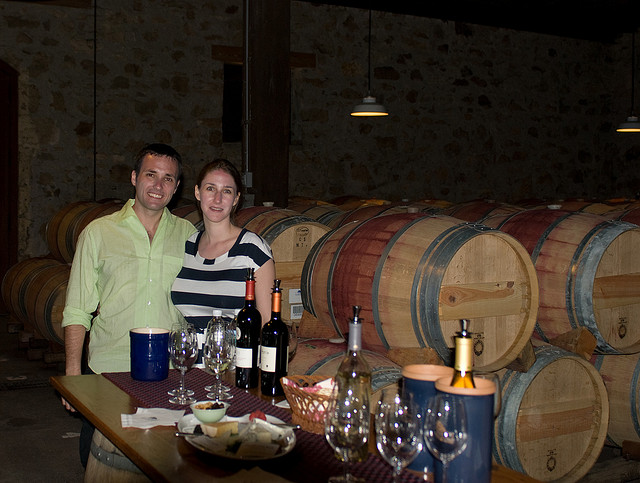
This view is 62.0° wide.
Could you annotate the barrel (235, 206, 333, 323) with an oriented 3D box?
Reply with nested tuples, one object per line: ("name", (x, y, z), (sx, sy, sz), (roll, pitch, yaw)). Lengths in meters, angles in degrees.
("barrel", (-0.226, 0.081, 3.857), (0.709, 0.780, 1.014), (-3, 12, -9))

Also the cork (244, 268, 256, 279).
("cork", (-0.269, 0.120, 2.061), (0.042, 0.048, 0.044), (1, -3, -17))

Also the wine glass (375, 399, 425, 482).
("wine glass", (0.204, 0.489, 1.331), (0.120, 0.254, 0.155), (-6, 12, 10))

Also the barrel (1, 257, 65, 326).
("barrel", (-3.131, 0.554, 6.129), (0.612, 0.778, 0.740), (-8, 12, -42))

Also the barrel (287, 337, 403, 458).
("barrel", (0.090, 0.718, 2.547), (0.351, 0.421, 0.320), (3, 8, 0))

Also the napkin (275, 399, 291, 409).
("napkin", (-0.129, 0.565, 1.859), (0.062, 0.009, 0.063), (1, 10, 10))

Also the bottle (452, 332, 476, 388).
("bottle", (0.350, 0.289, 1.311), (0.052, 0.150, 0.198), (-5, 12, 15))

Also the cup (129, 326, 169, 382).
("cup", (-0.645, 0.435, 2.119), (0.148, 0.174, 0.157), (2, 3, 0))

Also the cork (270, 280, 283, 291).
("cork", (-0.168, 0.167, 2.057), (0.044, 0.046, 0.045), (3, 3, -2))

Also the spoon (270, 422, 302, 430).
("spoon", (-0.105, 0.550, 1.599), (0.079, 0.019, 0.011), (22, -50, -25))

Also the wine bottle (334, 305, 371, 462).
("wine bottle", (0.093, 0.376, 1.444), (0.100, 0.386, 0.106), (1, -4, 0))
